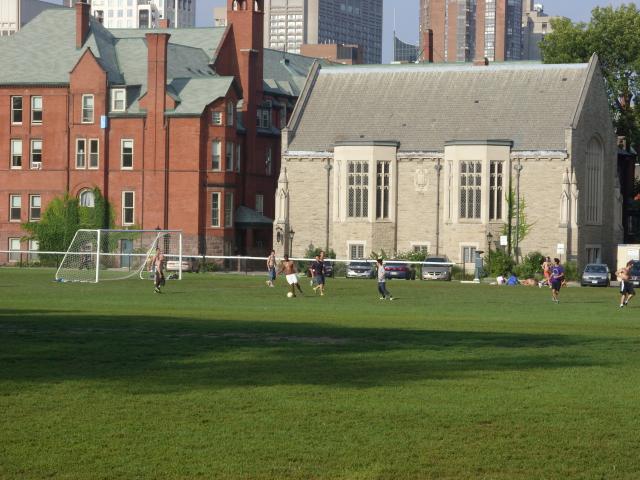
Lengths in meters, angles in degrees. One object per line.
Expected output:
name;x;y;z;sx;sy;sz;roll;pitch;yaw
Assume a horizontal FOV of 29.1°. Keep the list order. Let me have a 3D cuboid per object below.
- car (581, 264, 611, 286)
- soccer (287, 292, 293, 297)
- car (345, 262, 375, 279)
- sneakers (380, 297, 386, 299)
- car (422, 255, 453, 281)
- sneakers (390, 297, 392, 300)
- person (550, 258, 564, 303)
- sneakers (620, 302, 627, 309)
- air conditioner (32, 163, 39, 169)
car;16.729;2.176;75.284;1.637;1.275;2.315;2;5;12
soccer;-1.376;2.430;55.539;0.232;0.207;0.210;-4;-27;-2
car;2.603;1.862;78.174;1.765;1.070;1.280;2;5;2
sneakers;2.802;2.563;55.299;0.085;0.114;0.258;0;-7;-15
car;7.407;1.787;78.749;1.323;1.182;2.971;0;-1;7
sneakers;3.153;2.583;55.237;0.125;0.129;0.226;3;1;12
person;10.782;1.814;56.422;0.575;2.019;0.781;0;2;0
sneakers;12.984;2.757;53.034;0.158;0.192;0.423;-1;-7;1
air conditioner;-21.251;-5.662;92.378;0.763;0.475;0.358;4;6;24
